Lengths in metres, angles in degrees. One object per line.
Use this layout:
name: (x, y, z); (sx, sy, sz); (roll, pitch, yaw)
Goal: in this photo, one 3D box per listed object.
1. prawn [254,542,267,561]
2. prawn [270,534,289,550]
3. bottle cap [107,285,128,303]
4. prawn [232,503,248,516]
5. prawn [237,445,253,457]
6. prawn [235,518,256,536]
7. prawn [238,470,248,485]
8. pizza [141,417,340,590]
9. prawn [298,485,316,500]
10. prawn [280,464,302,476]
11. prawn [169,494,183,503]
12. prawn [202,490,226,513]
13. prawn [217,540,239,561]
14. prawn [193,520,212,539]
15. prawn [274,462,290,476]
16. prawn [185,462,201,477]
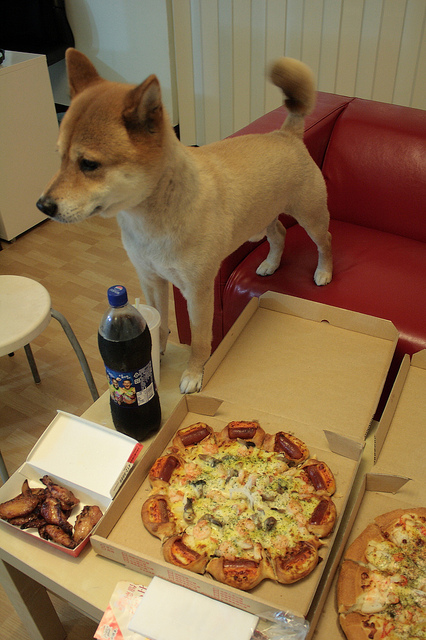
prawn: (0.065, 0.319, 0.677); (0.016, 0.008, 0.026); (0, 37, 3)
prawn: (0.095, 0.312, 0.690); (0.024, 0.005, 0.023); (-20, 41, -21)
bottle cap: (-0.143, -0.038, 0.739); (0.026, 0.019, 0.026); (-19, 52, -22)
prawn: (0.040, 0.283, 0.738); (0.021, 0.002, 0.018); (-24, 42, -25)
prawn: (0.053, 0.222, 0.829); (0.015, 0.006, 0.015); (-2, 34, 1)
prawn: (0.047, 0.299, 0.712); (0.028, 0.004, 0.023); (-27, 44, -28)
prawn: (0.046, 0.249, 0.782); (0.007, 0.016, 0.030); (0, 57, 17)
pizza: (0.038, 0.264, 0.753); (0.294, 0.042, 0.277); (11, 39, 17)
prawn: (0.144, 0.268, 0.764); (0.015, 0.005, 0.016); (6, 32, 20)
prawn: (0.125, 0.247, 0.797); (0.033, 0.014, 0.009); (-42, 29, -7)
prawn: (-0.057, 0.275, 0.758); (0.011, 0.003, 0.011); (-11, 25, -4)
prawn: (0.005, 0.277, 0.751); (0.024, 0.007, 0.024); (-22, 34, -8)
prawn: (0.022, 0.316, 0.680); (0.029, 0.010, 0.027); (18, 42, 25)
prawn: (-0.016, 0.303, 0.709); (0.028, 0.003, 0.025); (-26, 43, -27)
prawn: (0.112, 0.242, 0.799); (0.016, 0.007, 0.017); (-7, 34, 34)
prawn: (-0.034, 0.244, 0.801); (0.016, 0.007, 0.016); (-6, 32, -15)
